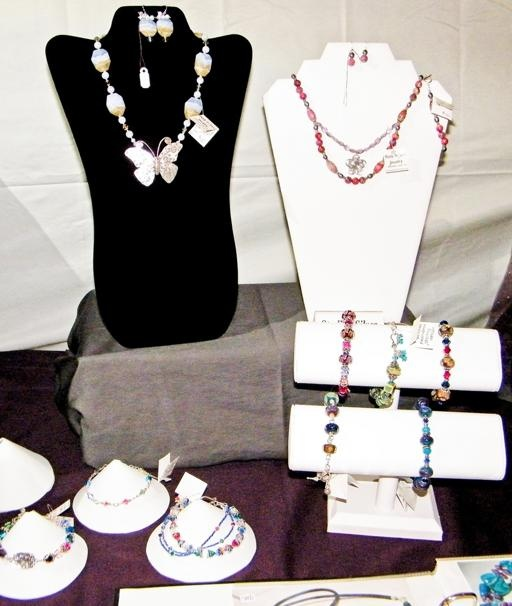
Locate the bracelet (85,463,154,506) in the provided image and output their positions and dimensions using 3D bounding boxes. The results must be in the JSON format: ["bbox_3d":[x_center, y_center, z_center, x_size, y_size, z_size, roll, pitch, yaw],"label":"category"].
[{"bbox_3d":[-0.261,0.340,1.097,0.093,0.035,0.087,1,35,-2],"label":"bracelet"}]

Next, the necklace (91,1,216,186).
[{"bbox_3d":[-0.176,-0.372,1.115,0.258,0.306,0.076,-5,8,-10],"label":"necklace"}]

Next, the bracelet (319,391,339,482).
[{"bbox_3d":[0.131,0.230,1.012,0.036,0.140,0.036,0,-7,10],"label":"bracelet"}]

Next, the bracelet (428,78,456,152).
[{"bbox_3d":[0.355,-0.362,1.135,0.052,0.130,0.115,8,38,16],"label":"bracelet"}]
